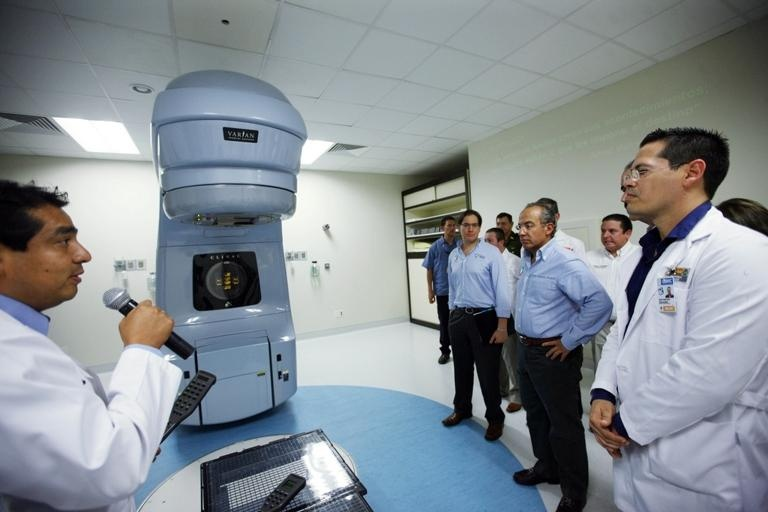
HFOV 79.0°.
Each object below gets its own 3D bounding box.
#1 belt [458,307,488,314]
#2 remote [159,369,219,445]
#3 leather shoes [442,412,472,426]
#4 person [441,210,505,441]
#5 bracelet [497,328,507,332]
[{"bbox_3d":[0.719,0.441,3.733,0.219,0.047,0.060,-2,1,21],"label":"belt"},{"bbox_3d":[-1.029,0.764,2.464,0.116,0.037,0.371,18,21,-2],"label":"remote"},{"bbox_3d":[0.616,1.330,3.882,0.258,0.109,0.095,-2,0,-27],"label":"leather shoes"},{"bbox_3d":[0.766,0.523,3.847,0.556,1.828,0.444,-2,1,25],"label":"person"},{"bbox_3d":[0.918,0.573,3.631,0.062,0.035,0.027,-2,1,14],"label":"bracelet"}]
